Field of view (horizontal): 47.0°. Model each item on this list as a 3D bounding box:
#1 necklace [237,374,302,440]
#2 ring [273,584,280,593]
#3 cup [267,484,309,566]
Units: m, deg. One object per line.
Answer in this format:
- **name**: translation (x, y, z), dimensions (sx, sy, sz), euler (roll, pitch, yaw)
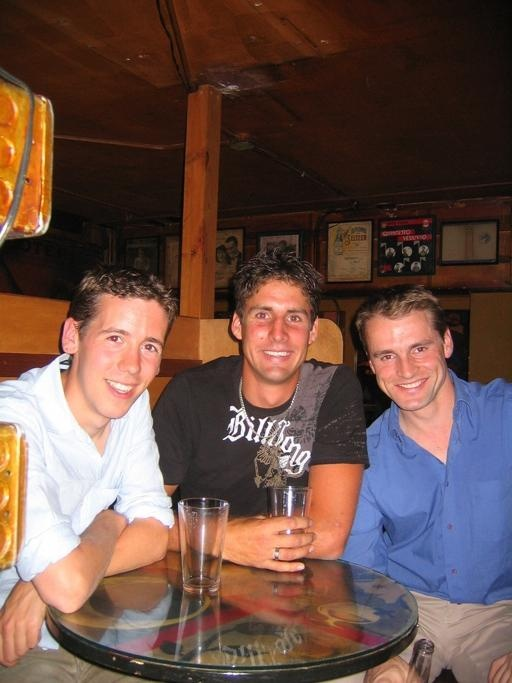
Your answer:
- **necklace**: translation (0.028, 0.230, 2.032), dimensions (0.139, 0.208, 0.053), euler (3, -21, -1)
- **ring**: translation (0.043, 0.555, 1.316), dimensions (0.007, 0.019, 0.020), euler (0, 13, 7)
- **cup**: translation (0.074, 0.458, 1.537), dimensions (0.135, 0.170, 0.117), euler (1, -3, -3)
